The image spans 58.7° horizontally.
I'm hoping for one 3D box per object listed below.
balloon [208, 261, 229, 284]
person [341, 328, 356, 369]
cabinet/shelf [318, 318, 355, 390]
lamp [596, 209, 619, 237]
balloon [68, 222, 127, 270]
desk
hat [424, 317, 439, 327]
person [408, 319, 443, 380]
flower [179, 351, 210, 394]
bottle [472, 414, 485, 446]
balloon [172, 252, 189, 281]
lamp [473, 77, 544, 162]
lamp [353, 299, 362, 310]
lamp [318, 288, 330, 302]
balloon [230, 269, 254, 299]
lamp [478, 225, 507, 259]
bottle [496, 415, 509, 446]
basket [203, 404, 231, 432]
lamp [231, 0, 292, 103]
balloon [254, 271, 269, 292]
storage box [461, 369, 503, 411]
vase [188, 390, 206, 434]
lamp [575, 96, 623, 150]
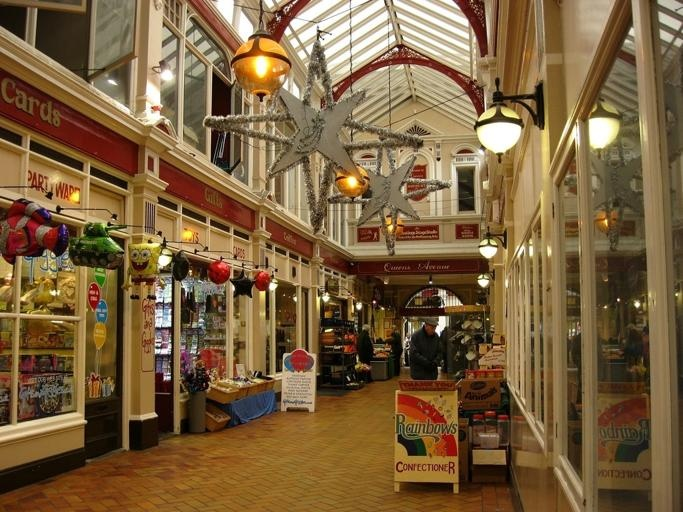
[{"bbox_3d":[-1.980,0.241,9.713,0.321,0.351,0.365,1,-6,-3],"label":"balloon"},{"bbox_3d":[0.225,2.664,17.716,0.332,1.003,1.015,-7,-11,24],"label":"person"},{"bbox_3d":[-0.190,2.770,17.057,0.548,1.746,1.761,0,-4,9],"label":"cabinet/shelf"},{"bbox_3d":[1.067,-0.136,2.426,0.082,0.084,0.078,-19,-3,-23],"label":"lamp"},{"bbox_3d":[-2.461,-0.108,6.274,0.602,0.462,0.457,1,-3,4],"label":"balloon"},{"bbox_3d":[0.934,1.963,6.781,0.868,1.471,0.924,0,-3,11],"label":"desk"},{"bbox_3d":[1.341,0.987,9.117,0.233,0.109,0.328,2,-9,0],"label":"hat"},{"bbox_3d":[1.264,1.428,9.215,0.481,0.853,0.671,0,-6,9],"label":"person"},{"bbox_3d":[-2.423,1.947,9.906,0.424,0.573,0.435,2,-4,-25],"label":"flower"},{"bbox_3d":[1.577,2.006,7.001,0.147,0.333,0.225,-1,-6,22],"label":"bottle"},{"bbox_3d":[-2.294,0.120,8.606,0.217,0.401,0.418,3,-6,-18],"label":"balloon"},{"bbox_3d":[1.118,-0.934,4.081,0.424,0.496,0.313,0,1,12],"label":"lamp"},{"bbox_3d":[0.578,1.735,21.474,0.280,0.448,0.284,1,-5,9],"label":"lamp"},{"bbox_3d":[-0.508,1.113,17.253,0.347,0.389,0.368,-3,-10,-6],"label":"lamp"},{"bbox_3d":[-1.884,0.509,11.287,0.541,0.611,0.300,-3,0,-5],"label":"balloon"},{"bbox_3d":[2.567,-0.198,10.284,0.424,0.519,0.321,2,-6,14],"label":"lamp"},{"bbox_3d":[1.882,2.022,7.041,0.134,0.342,0.357,-1,-6,15],"label":"bottle"},{"bbox_3d":[-2.048,2.665,10.039,0.412,0.391,0.438,2,-6,-10],"label":"basket"},{"bbox_3d":[-0.788,-1.949,5.863,0.557,0.694,0.328,1,-5,-8],"label":"lamp"},{"bbox_3d":[-1.552,0.468,11.689,0.329,0.446,0.350,-1,0,11],"label":"balloon"},{"bbox_3d":[1.715,1.549,7.500,0.412,0.340,0.604,-2,-2,13],"label":"storage box"},{"bbox_3d":[-2.333,2.488,9.759,0.286,0.665,0.234,2,-6,-14],"label":"vase"},{"bbox_3d":[1.083,-0.560,2.578,0.183,0.221,0.182,4,-10,-41],"label":"lamp"}]
